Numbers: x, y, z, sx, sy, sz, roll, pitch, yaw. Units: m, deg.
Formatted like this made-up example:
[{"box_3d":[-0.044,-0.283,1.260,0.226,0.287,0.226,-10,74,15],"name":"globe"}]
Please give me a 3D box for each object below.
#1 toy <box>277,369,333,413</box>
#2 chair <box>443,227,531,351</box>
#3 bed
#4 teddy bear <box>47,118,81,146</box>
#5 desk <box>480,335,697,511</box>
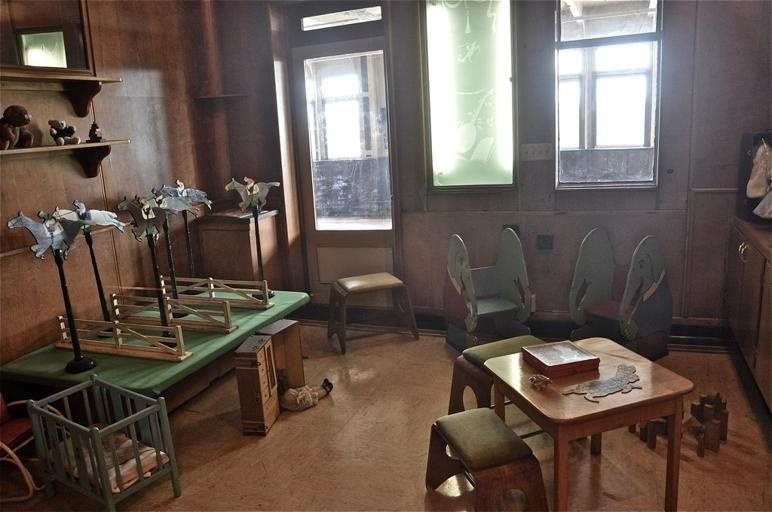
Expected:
[{"box_3d":[-0.624,1.055,4.331,0.405,0.131,0.172,-6,19,-45],"name":"toy"},{"box_3d":[0.895,0.310,4.948,0.672,0.913,0.570,-6,13,-18],"name":"chair"},{"box_3d":[-1.832,1.178,3.599,0.912,0.752,0.559,4,14,37],"name":"bed"},{"box_3d":[-2.412,-0.912,4.163,0.197,0.183,0.164,-7,12,-13],"name":"teddy bear"},{"box_3d":[1.198,0.817,3.511,1.115,0.851,1.067,-6,13,-18],"name":"desk"}]
